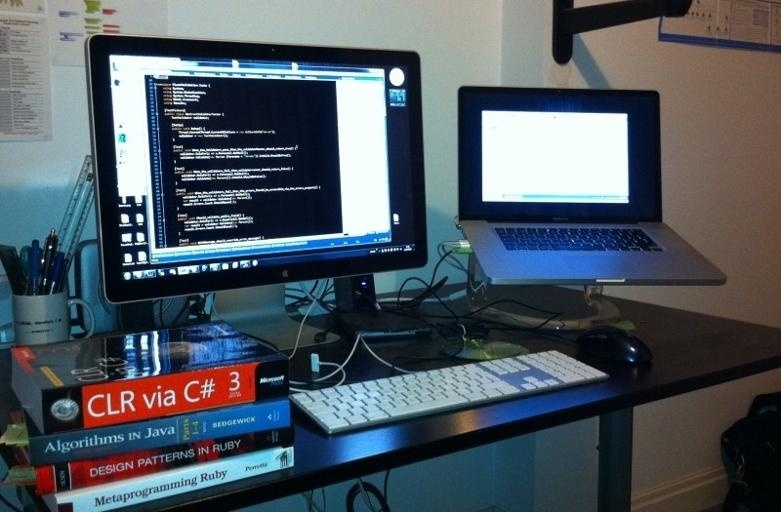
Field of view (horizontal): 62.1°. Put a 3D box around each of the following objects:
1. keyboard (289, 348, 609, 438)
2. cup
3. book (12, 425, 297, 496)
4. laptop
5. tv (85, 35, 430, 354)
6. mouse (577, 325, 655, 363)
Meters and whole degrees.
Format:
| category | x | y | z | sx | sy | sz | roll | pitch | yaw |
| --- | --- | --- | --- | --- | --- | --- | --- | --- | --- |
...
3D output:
| category | x | y | z | sx | sy | sz | roll | pitch | yaw |
| --- | --- | --- | --- | --- | --- | --- | --- | --- | --- |
| keyboard | 0.130 | 0.264 | 1.315 | 0.647 | 0.046 | 0.129 | -8 | 15 | -17 |
| cup | -0.776 | 0.143 | 1.537 | 0.206 | 0.134 | 0.128 | 1 | 2 | -9 |
| book | -0.370 | 0.340 | 1.088 | 0.412 | 0.046 | 0.015 | -7 | 14 | -13 |
| laptop | 0.475 | -0.220 | 1.855 | 0.687 | 0.565 | 0.500 | -1 | 18 | -8 |
| tv | -0.308 | -0.142 | 1.450 | 0.734 | 0.609 | 0.189 | -6 | 13 | -27 |
| mouse | 0.499 | 0.203 | 1.439 | 0.075 | 0.047 | 0.133 | -2 | 11 | -43 |
